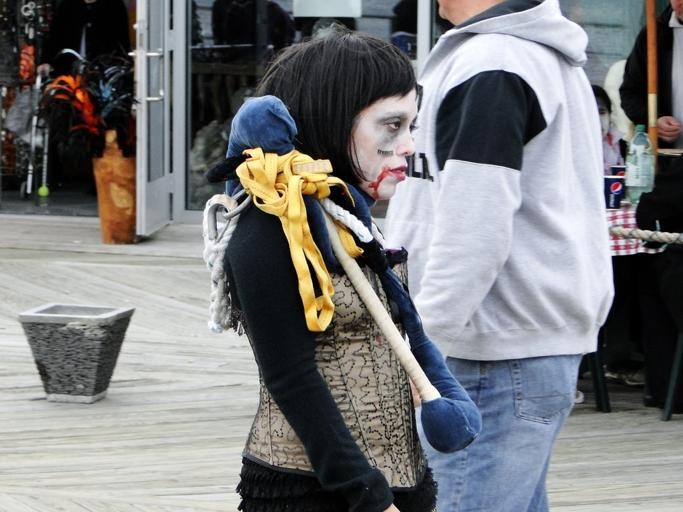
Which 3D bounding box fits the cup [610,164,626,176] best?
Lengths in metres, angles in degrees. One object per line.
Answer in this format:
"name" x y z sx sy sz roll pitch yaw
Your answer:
"cup" 1.619 -0.505 9.221 0.089 0.052 0.079 2 1 -19
